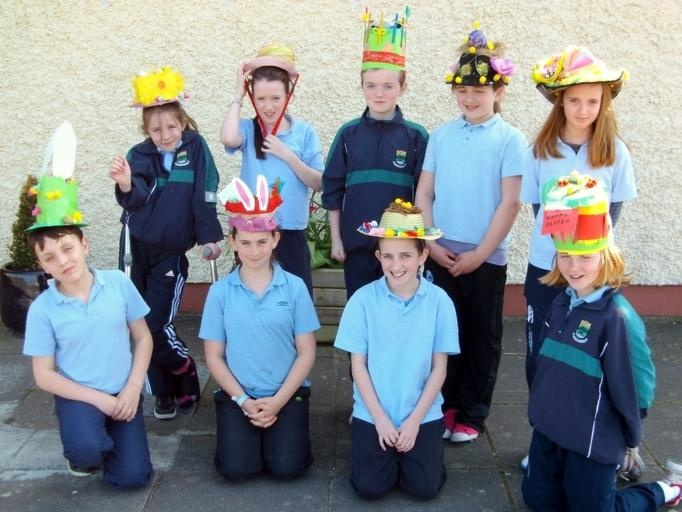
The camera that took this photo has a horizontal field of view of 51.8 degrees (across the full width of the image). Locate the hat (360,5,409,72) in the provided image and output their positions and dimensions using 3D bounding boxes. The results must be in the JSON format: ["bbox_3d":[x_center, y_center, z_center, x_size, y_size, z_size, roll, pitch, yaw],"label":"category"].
[{"bbox_3d":[0.275,-1.323,4.281,0.273,0.343,0.368,1,25,4],"label":"hat"}]

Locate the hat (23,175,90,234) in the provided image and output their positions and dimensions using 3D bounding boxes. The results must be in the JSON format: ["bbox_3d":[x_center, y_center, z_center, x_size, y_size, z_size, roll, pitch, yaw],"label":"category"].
[{"bbox_3d":[-1.566,-0.283,3.843,0.329,0.275,0.299,-5,11,-28],"label":"hat"}]

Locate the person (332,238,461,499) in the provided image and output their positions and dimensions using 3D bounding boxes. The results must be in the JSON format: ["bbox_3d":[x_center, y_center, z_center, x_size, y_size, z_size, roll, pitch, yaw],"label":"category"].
[{"bbox_3d":[0.314,0.691,3.864,0.683,1.031,0.756,-1,26,0],"label":"person"}]

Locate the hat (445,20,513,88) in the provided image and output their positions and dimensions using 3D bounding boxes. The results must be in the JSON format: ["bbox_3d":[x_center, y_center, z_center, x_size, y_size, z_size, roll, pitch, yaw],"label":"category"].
[{"bbox_3d":[0.807,-1.101,4.020,0.396,0.347,0.432,-13,16,-43],"label":"hat"}]

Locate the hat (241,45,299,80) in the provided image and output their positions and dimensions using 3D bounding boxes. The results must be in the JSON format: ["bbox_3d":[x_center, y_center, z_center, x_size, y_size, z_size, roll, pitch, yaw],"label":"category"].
[{"bbox_3d":[-0.444,-1.227,4.478,0.332,0.213,0.228,-11,27,-22],"label":"hat"}]

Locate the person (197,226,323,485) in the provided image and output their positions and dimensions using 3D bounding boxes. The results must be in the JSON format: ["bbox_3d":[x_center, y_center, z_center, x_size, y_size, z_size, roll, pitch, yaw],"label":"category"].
[{"bbox_3d":[-0.431,0.522,3.926,0.678,1.290,0.791,-6,26,-11],"label":"person"}]

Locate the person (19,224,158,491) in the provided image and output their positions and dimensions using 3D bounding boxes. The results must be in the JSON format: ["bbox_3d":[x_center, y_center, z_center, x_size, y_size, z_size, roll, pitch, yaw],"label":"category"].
[{"bbox_3d":[-1.392,0.654,3.867,0.629,1.049,0.747,-3,26,-5],"label":"person"}]

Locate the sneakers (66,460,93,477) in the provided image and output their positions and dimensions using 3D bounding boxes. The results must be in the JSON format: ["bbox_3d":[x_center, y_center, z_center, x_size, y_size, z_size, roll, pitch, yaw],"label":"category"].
[{"bbox_3d":[-1.441,1.175,3.889,0.140,0.054,0.068,1,29,-9],"label":"sneakers"}]

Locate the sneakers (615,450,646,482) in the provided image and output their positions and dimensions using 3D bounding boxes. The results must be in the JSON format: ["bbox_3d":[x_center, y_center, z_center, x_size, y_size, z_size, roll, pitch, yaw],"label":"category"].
[{"bbox_3d":[1.577,1.130,3.783,0.120,0.338,0.147,0,65,14],"label":"sneakers"}]

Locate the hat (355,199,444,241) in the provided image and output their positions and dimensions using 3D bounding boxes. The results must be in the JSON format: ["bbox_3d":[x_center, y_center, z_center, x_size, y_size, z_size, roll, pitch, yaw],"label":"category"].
[{"bbox_3d":[0.310,-0.198,3.886,0.306,0.121,0.305,0,13,-15],"label":"hat"}]

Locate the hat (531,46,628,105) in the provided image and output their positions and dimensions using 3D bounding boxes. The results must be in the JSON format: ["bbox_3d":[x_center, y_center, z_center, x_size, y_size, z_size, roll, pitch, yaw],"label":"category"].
[{"bbox_3d":[1.291,-0.966,3.802,0.497,0.309,0.227,6,26,14],"label":"hat"}]

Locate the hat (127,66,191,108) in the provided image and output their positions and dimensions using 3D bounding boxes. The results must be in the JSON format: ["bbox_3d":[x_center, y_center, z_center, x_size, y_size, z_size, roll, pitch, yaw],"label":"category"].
[{"bbox_3d":[-1.170,-1.058,4.401,0.325,0.194,0.306,-14,17,-23],"label":"hat"}]
